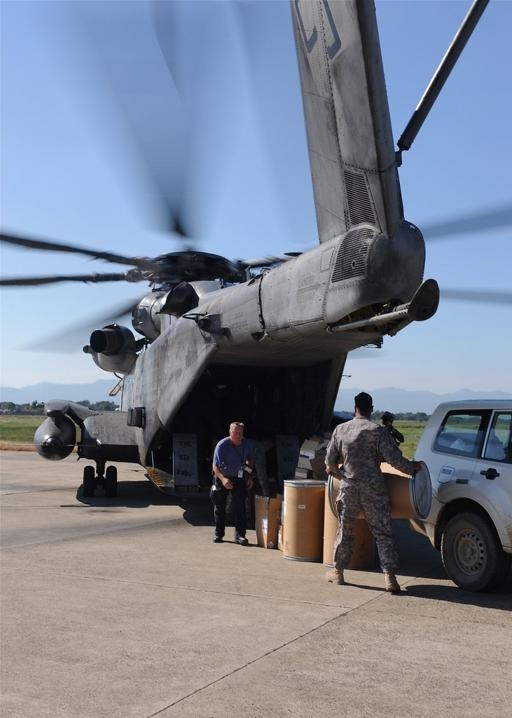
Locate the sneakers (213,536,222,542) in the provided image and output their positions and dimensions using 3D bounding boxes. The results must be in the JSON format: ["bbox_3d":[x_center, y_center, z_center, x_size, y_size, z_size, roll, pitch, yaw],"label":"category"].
[{"bbox_3d":[-0.514,2.441,7.510,0.126,0.082,0.088,3,-9,-9],"label":"sneakers"}]

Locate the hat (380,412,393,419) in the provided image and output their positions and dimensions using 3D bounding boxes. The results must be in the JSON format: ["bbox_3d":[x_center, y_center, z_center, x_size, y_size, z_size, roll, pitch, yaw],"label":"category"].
[{"bbox_3d":[2.203,0.979,9.449,0.148,0.072,0.198,1,0,-2],"label":"hat"}]

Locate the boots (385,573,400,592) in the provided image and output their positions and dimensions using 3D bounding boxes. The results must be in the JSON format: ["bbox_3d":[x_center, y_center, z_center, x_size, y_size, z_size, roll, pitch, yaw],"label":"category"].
[{"bbox_3d":[1.263,2.077,5.146,0.143,0.174,0.125,2,-9,1],"label":"boots"}]

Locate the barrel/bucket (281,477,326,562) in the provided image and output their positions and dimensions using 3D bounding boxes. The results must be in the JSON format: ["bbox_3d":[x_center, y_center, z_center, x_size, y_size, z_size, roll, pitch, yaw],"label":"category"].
[{"bbox_3d":[0.585,1.982,6.801,0.580,0.896,0.592,2,-7,0],"label":"barrel/bucket"}]

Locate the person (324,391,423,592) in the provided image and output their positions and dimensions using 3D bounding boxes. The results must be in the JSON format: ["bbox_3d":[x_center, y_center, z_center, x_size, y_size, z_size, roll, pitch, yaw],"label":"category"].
[{"bbox_3d":[1.068,1.267,5.427,0.542,1.852,0.907,9,-11,-38],"label":"person"}]

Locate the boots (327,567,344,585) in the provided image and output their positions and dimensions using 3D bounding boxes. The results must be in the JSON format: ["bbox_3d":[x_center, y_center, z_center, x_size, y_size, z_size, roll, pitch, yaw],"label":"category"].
[{"bbox_3d":[0.767,2.125,5.471,0.087,0.163,0.224,1,5,-11],"label":"boots"}]
